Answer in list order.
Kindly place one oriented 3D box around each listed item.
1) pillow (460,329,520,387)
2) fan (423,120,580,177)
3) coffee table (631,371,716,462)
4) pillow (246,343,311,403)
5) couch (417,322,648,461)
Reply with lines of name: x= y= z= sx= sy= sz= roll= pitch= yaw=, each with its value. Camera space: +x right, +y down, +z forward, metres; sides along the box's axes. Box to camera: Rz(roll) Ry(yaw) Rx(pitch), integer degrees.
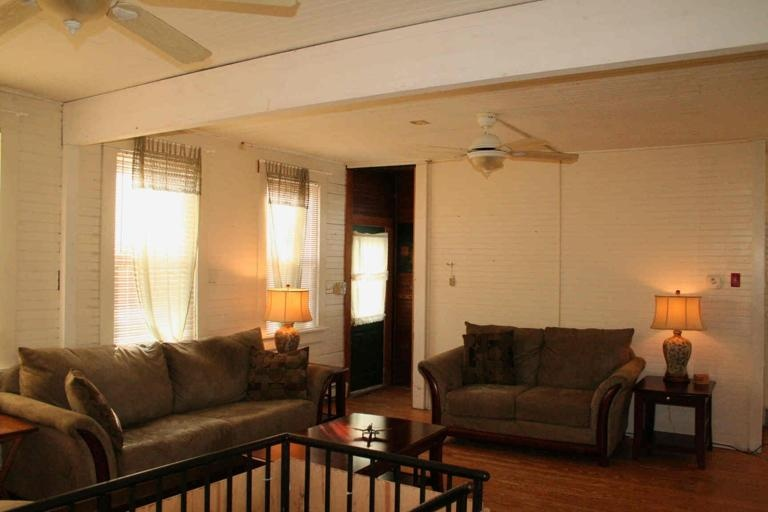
pillow: x=1.167 y=1.151 z=6.523 sx=0.666 sy=0.531 sz=0.209 roll=-2 pitch=-19 yaw=6
fan: x=0.900 y=-0.982 z=5.158 sx=1.385 sy=0.431 sz=1.407 roll=0 pitch=4 yaw=-14
coffee table: x=2.881 y=1.668 z=6.068 sx=0.942 sy=0.731 sz=0.873 roll=-1 pitch=-2 yaw=36
pillow: x=-1.039 y=1.156 z=5.823 sx=0.567 sy=0.430 sz=0.151 roll=-3 pitch=-20 yaw=-6
couch: x=1.617 y=1.324 z=6.388 sx=2.259 sy=0.909 sz=1.131 roll=-2 pitch=10 yaw=35
